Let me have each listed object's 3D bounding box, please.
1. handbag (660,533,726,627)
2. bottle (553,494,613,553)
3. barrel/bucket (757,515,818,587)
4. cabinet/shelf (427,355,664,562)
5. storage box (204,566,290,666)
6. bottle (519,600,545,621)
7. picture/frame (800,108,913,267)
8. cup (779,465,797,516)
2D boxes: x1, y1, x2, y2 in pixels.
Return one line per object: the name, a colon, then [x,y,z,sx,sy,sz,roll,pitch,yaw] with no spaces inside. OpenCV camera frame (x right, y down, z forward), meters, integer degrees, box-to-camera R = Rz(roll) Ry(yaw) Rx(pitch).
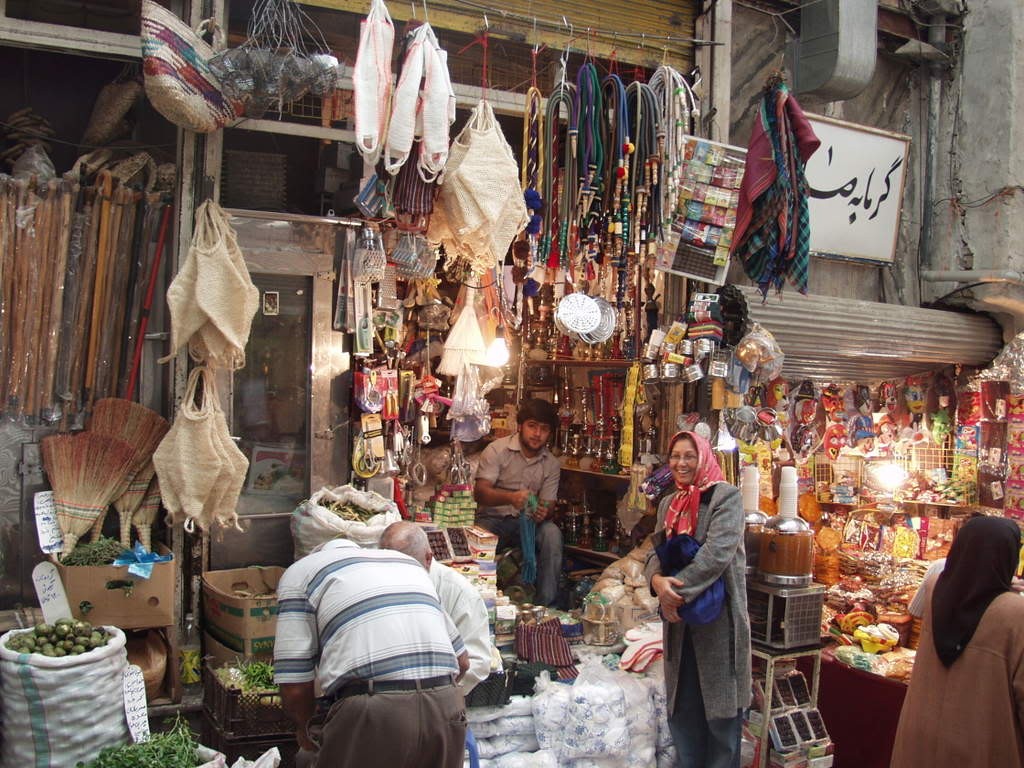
handbag: [0.979,1.057,5.951,0.330,0.490,0.149,-3,-2,30]
bottle: [0.573,1.103,8.529,0.483,0.299,0.345,5,12,2]
barrel/bucket: [1.624,0.993,6.477,0.346,0.381,0.359,1,-4,0]
cabinet/shelf: [0.265,0.584,7.911,0.448,1.410,1.381,0,4,-38]
storage box: [-1.525,1.288,6.033,0.396,0.381,0.523,3,-9,-20]
bottle: [0.114,1.399,6.638,0.160,0.033,0.407,5,-1,2]
picture/frame: [2.387,-1.385,7.605,1.077,1.652,0.110,-5,7,-25]
cup: [1.685,0.659,6.595,0.102,0.261,0.162,3,-1,12]
